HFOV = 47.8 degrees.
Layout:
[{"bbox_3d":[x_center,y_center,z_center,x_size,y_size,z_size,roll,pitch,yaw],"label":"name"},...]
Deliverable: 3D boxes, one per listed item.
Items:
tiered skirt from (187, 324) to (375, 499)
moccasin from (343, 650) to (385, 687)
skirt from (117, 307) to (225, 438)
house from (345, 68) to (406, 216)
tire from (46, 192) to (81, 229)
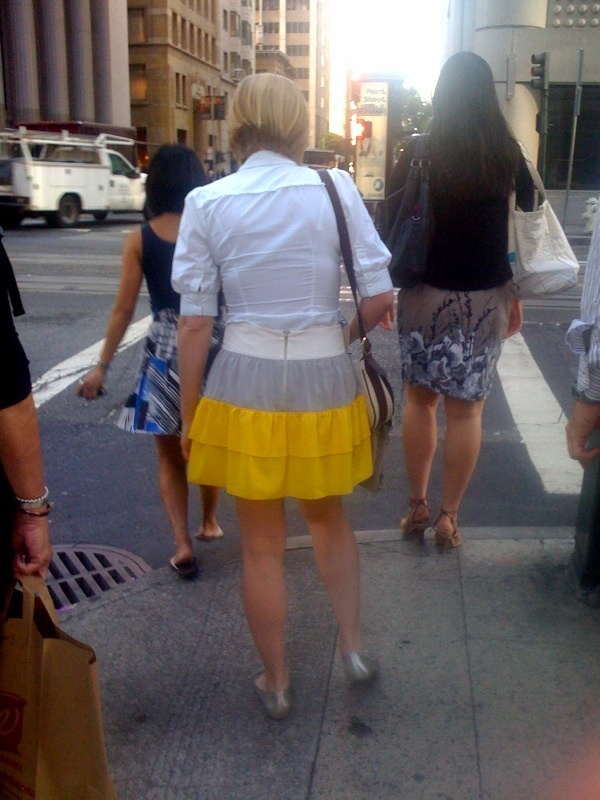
[{"bbox_3d":[-0.036,0.030,1.975,0.576,0.643,0.406,2,21,-2],"label":"tiered skirt"},{"bbox_3d":[0.195,0.833,2.087,0.074,0.046,0.110,3,6,0],"label":"moccasin"},{"bbox_3d":[-0.565,-0.103,2.970,0.470,0.626,0.324,6,-13,-30],"label":"skirt"},{"bbox_3d":[2.355,-8.900,21.992,1.510,5.241,1.823,-12,59,-3],"label":"house"},{"bbox_3d":[-7.273,-5.849,20.647,0.299,0.994,0.876,4,13,14],"label":"tire"}]
